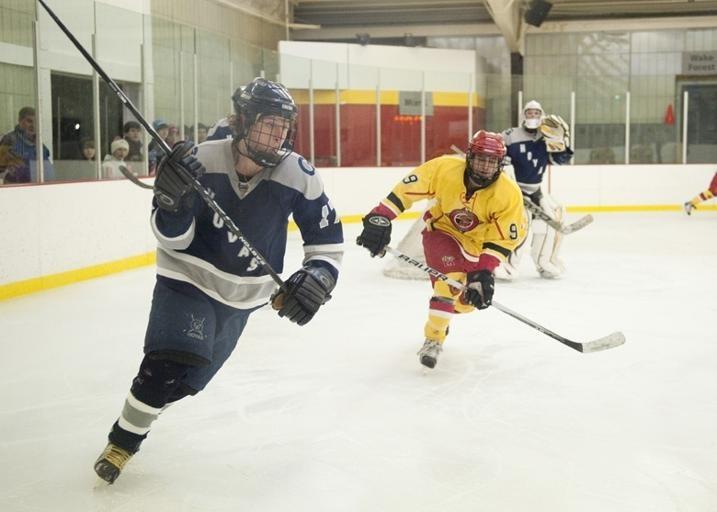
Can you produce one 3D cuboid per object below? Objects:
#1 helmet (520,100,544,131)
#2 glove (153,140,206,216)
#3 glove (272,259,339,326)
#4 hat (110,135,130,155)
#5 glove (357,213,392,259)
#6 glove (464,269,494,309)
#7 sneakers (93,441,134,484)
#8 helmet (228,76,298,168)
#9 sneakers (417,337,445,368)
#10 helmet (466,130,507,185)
[{"bbox_3d":[1.595,-1.285,6.708,0.185,0.270,0.302,4,10,11],"label":"helmet"},{"bbox_3d":[-0.765,-0.328,3.051,0.213,0.296,0.113,1,10,-4],"label":"glove"},{"bbox_3d":[-0.241,0.155,3.329,0.200,0.331,0.126,40,-12,-7],"label":"glove"},{"bbox_3d":[-2.355,-1.097,7.167,0.109,0.130,0.145,7,13,-1],"label":"hat"},{"bbox_3d":[0.081,-0.117,4.292,0.194,0.250,0.230,2,10,3],"label":"glove"},{"bbox_3d":[0.681,0.190,4.224,0.190,0.208,0.087,1,-7,-13],"label":"glove"},{"bbox_3d":[-1.086,0.902,3.188,0.112,0.089,0.250,-31,17,-11],"label":"sneakers"},{"bbox_3d":[-0.410,-0.580,3.184,0.275,0.382,0.173,0,10,-12],"label":"helmet"},{"bbox_3d":[0.414,0.576,4.345,0.078,0.098,0.226,8,15,6],"label":"sneakers"},{"bbox_3d":[0.735,-0.559,4.266,0.220,0.327,0.214,3,10,8],"label":"helmet"}]
